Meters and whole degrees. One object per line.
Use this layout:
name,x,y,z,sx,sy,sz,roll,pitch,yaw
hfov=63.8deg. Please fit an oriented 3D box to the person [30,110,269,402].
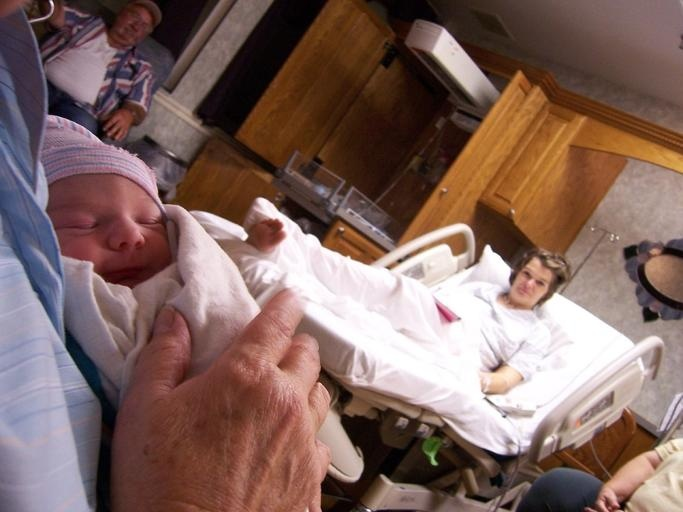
person,-0.504,-0.019,1.322,0.713,0.275,0.535,48,16,31

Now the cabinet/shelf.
cabinet/shelf,0.423,-0.872,3.757,1.417,1.302,0.725,46,-8,-1

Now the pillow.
pillow,0.934,0.401,3.024,0.673,0.857,0.317,32,-30,29
